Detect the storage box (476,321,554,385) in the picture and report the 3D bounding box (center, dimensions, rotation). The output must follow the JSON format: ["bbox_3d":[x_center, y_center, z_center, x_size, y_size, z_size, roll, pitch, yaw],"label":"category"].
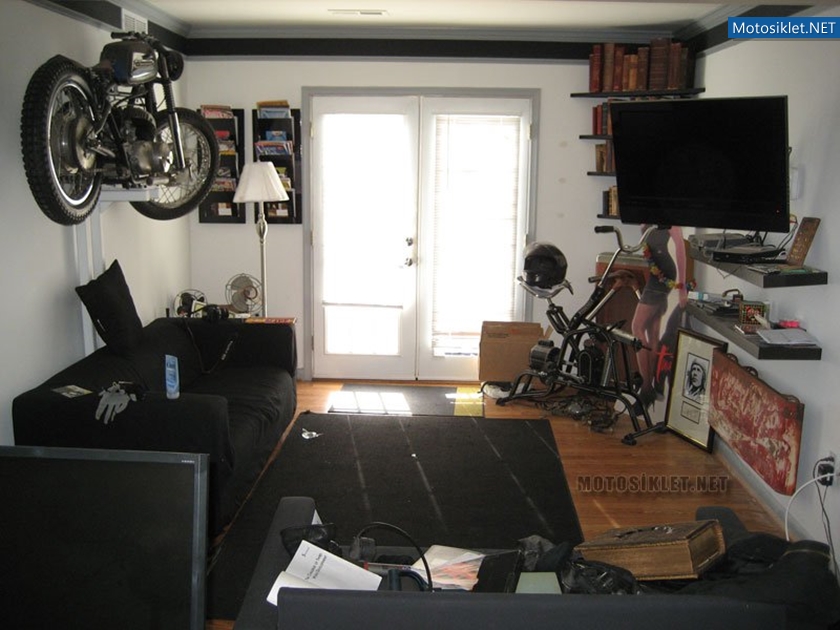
[{"bbox_3d":[0.763,0.292,5.828,0.450,0.482,0.662,1,2,2],"label":"storage box"}]

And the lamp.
[{"bbox_3d":[-1.327,-0.595,5.714,0.422,1.377,0.649,-1,14,-11],"label":"lamp"}]

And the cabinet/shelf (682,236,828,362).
[{"bbox_3d":[1.985,-0.128,3.952,0.405,0.614,0.863,0,14,-8],"label":"cabinet/shelf"}]

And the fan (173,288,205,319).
[{"bbox_3d":[-1.878,-0.088,5.489,0.216,0.417,0.216,-2,5,-34],"label":"fan"}]

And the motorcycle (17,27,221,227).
[{"bbox_3d":[-1.727,-1.171,4.392,0.738,1.136,2.736,-1,14,-12],"label":"motorcycle"}]

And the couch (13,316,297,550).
[{"bbox_3d":[-1.553,0.598,4.423,1.089,0.839,2.032,2,12,0],"label":"couch"}]

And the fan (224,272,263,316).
[{"bbox_3d":[-1.451,-0.182,5.590,0.312,0.345,0.304,-1,8,1],"label":"fan"}]

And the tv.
[{"bbox_3d":[1.653,-0.897,4.092,0.250,0.775,1.201,-5,15,-26],"label":"tv"}]
